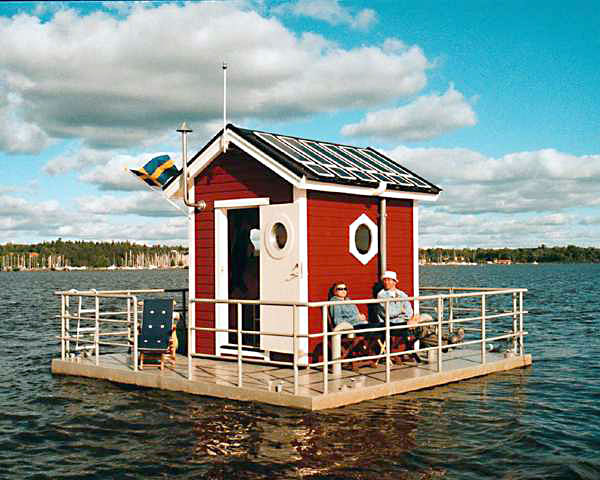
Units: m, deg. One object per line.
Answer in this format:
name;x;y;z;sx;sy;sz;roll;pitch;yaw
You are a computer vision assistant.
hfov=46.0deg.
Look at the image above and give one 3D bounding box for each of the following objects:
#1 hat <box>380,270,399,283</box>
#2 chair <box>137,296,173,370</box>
hat;1.952;0.780;15.241;0.244;0.160;0.313;1;-15;22
chair;-3.023;1.954;14.723;0.714;1.498;0.897;0;-1;-12
